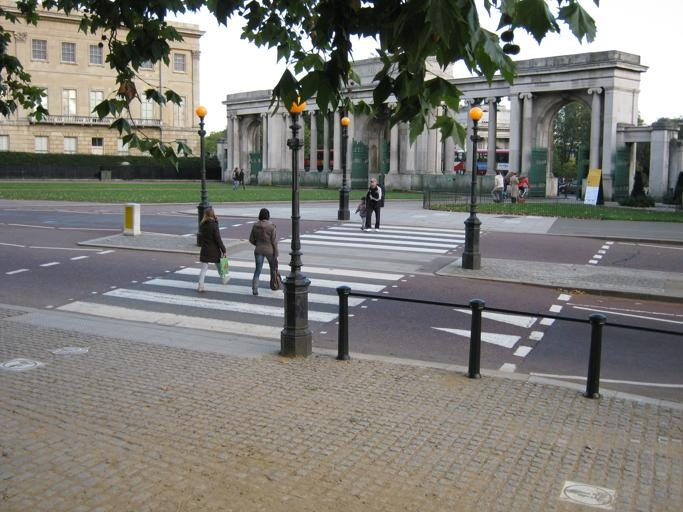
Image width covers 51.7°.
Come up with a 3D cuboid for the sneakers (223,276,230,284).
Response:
[{"bbox_3d":[-2.773,0.599,16.950,0.137,0.085,0.218,-6,15,1],"label":"sneakers"}]

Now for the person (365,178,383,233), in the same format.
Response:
[{"bbox_3d":[1.259,-1.990,27.479,0.564,1.997,0.639,-1,12,-8],"label":"person"}]

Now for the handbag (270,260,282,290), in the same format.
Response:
[{"bbox_3d":[-1.461,0.444,15.570,0.221,0.771,0.534,-4,9,-5],"label":"handbag"}]
